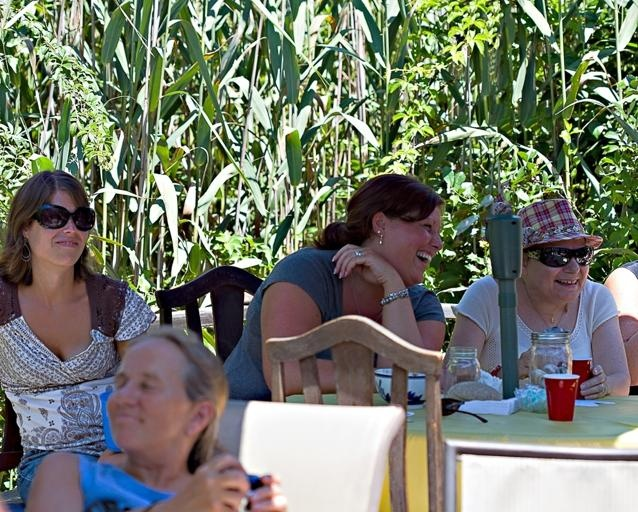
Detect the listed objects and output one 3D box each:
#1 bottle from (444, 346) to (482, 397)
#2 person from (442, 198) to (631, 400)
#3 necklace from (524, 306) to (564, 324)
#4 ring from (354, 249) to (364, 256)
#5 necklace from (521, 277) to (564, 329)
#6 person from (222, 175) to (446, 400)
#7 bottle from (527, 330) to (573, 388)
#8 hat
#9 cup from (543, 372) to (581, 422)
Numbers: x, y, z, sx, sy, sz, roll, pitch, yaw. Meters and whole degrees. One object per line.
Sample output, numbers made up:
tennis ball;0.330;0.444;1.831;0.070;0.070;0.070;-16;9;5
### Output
bottle;0.491;0.368;2.785;0.095;0.128;0.230;-3;-49;10
person;0.940;0.156;3.332;0.771;1.070;0.654;-1;-3;-12
necklace;0.922;0.243;3.337;0.127;0.041;0.088;2;-12;-8
ring;0.138;-0.014;3.026;0.021;0.025;0.009;-4;-51;8
necklace;0.904;0.191;3.307;0.133;0.244;0.083;0;26;11
person;0.138;0.259;3.188;0.751;1.143;0.745;2;-13;32
bottle;0.743;0.342;2.646;0.133;0.254;0.153;1;-7;-4
hat;0.945;-0.103;3.364;0.309;0.194;0.317;-3;-18;-18
cup;0.727;0.420;2.435;0.104;0.146;0.108;0;-5;0
